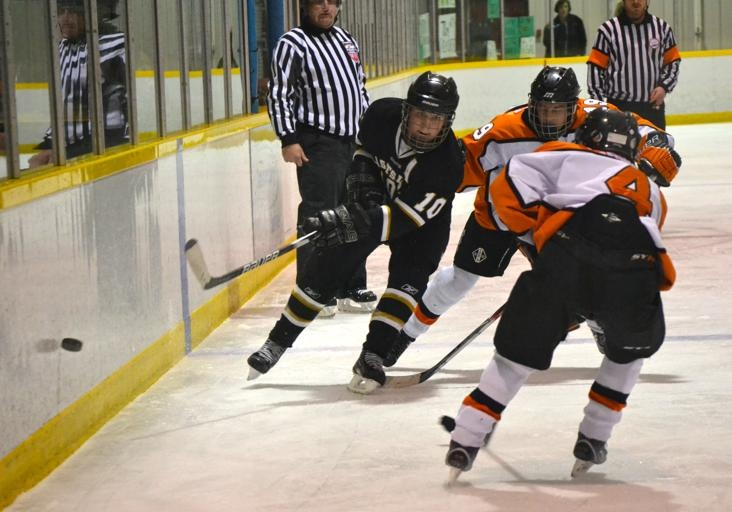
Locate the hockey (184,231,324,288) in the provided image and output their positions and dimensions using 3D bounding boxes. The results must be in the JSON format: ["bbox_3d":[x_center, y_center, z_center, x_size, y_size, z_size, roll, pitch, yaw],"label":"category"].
[{"bbox_3d":[-0.605,0.018,4.048,0.773,0.258,0.061,-18,-37,19],"label":"hockey"}]

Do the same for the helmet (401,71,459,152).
[{"bbox_3d":[0.254,-0.587,3.100,0.230,0.314,0.220,-3,15,3],"label":"helmet"}]

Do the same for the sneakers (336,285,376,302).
[{"bbox_3d":[-0.050,0.220,4.390,0.241,0.083,0.083,-2,-1,10],"label":"sneakers"}]

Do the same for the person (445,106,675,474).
[{"bbox_3d":[0.609,0.188,2.455,0.719,1.065,0.381,-2,16,5],"label":"person"}]

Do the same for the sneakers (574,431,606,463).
[{"bbox_3d":[0.713,0.618,2.449,0.059,0.053,0.138,3,0,27],"label":"sneakers"}]

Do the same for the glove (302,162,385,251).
[{"bbox_3d":[-0.063,-0.210,3.274,0.386,0.360,0.140,-24,35,-1],"label":"glove"}]

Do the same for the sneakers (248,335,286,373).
[{"bbox_3d":[-0.399,0.421,3.401,0.101,0.077,0.241,-40,1,39],"label":"sneakers"}]

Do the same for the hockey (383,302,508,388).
[{"bbox_3d":[0.329,0.405,3.375,0.623,0.160,0.054,-31,34,0],"label":"hockey"}]
